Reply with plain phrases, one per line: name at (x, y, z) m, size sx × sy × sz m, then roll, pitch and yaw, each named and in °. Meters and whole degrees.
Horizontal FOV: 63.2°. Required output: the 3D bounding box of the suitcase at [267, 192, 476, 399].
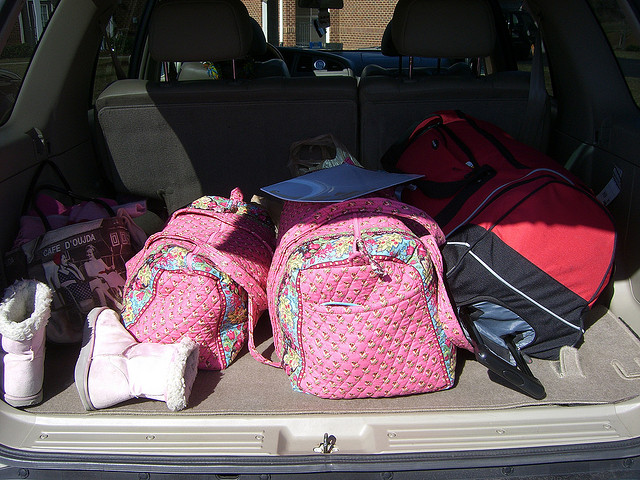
suitcase at (0.138, 0.095, 1.777) m, size 0.752 × 0.541 × 0.840 m, roll -3°, pitch 18°, yaw 8°

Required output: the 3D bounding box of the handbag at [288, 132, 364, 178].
handbag at (-0.022, -0.356, 2.017) m, size 0.185 × 0.238 × 0.088 m, roll -6°, pitch 62°, yaw -9°

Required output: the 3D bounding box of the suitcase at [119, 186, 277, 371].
suitcase at (-0.401, 0.092, 1.781) m, size 0.505 × 0.272 × 0.721 m, roll 12°, pitch 31°, yaw 4°

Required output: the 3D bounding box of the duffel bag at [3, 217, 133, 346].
duffel bag at (-0.761, 0.165, 1.845) m, size 0.435 × 0.331 × 0.419 m, roll -15°, pitch 61°, yaw 5°

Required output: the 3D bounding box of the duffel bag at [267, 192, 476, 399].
duffel bag at (0.137, 0.080, 1.835) m, size 0.625 × 0.526 × 0.913 m, roll -4°, pitch 17°, yaw -2°

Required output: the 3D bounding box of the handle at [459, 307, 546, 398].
handle at (0.541, 0.348, 1.523) m, size 0.060 × 0.250 × 0.189 m, roll -43°, pitch 36°, yaw 3°

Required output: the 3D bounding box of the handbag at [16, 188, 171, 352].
handbag at (-0.778, 0.095, 1.805) m, size 0.519 × 0.205 × 0.441 m, roll -16°, pitch 67°, yaw -10°

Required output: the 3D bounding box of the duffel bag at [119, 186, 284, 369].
duffel bag at (-0.371, 0.141, 1.656) m, size 0.368 × 0.354 × 0.614 m, roll 15°, pitch 24°, yaw 13°

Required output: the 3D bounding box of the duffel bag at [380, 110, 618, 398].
duffel bag at (0.428, 0.092, 1.812) m, size 0.776 × 0.812 × 0.870 m, roll 3°, pitch 25°, yaw -6°
